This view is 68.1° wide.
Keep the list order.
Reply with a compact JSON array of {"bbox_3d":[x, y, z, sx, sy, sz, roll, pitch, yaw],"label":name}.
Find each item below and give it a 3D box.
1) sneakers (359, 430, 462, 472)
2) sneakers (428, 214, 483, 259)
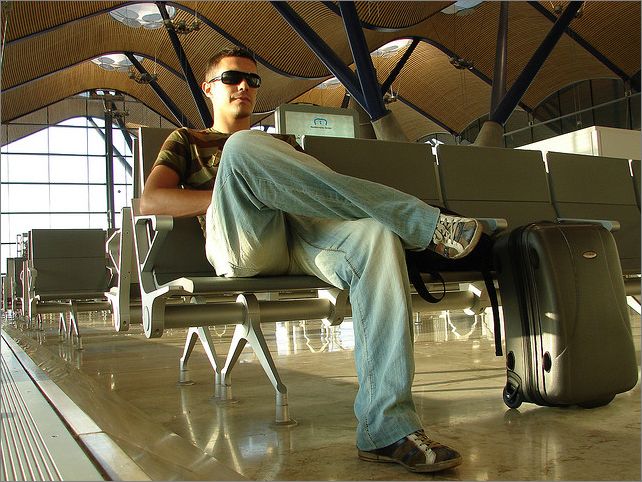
[{"bbox_3d":[0.275,0.612,1.449,0.264,0.111,0.111,-9,-12,29],"label":"sneakers"},{"bbox_3d":[0.398,-0.025,1.466,0.078,0.089,0.192,20,-6,-20],"label":"sneakers"}]
